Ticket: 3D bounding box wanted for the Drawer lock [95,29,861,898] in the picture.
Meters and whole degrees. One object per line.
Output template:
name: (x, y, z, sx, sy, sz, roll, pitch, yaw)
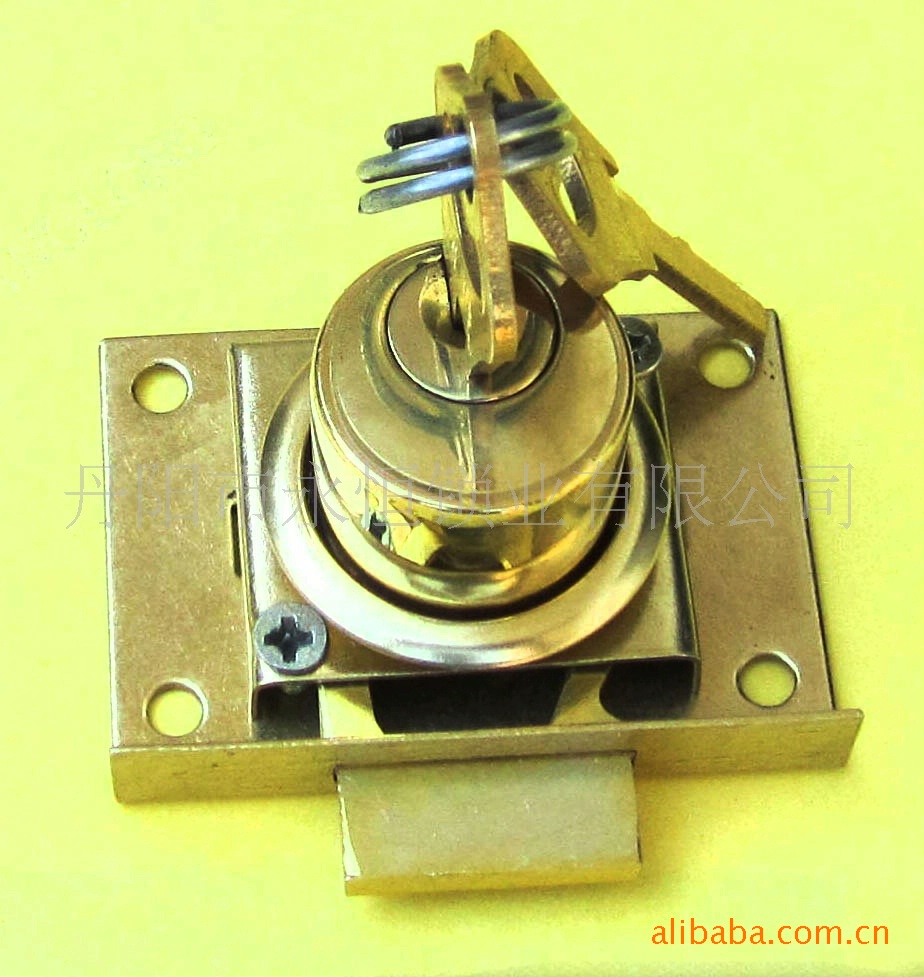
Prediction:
Drawer lock: (-0.001, -0.038, 1.051, 0.651, 0.745, 0.440, -2, -18, -5)
